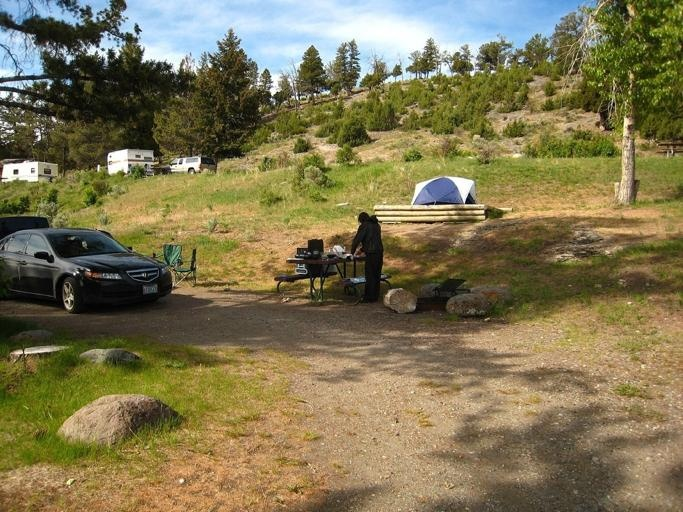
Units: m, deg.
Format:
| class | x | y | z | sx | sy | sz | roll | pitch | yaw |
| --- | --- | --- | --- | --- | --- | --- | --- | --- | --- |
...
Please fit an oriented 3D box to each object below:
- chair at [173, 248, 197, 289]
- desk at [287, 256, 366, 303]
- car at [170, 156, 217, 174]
| class | x | y | z | sx | sy | sz | roll | pitch | yaw |
| --- | --- | --- | --- | --- | --- | --- | --- | --- | --- |
| chair | -4.547 | 0.264 | 18.097 | 0.665 | 1.039 | 1.421 | -6 | 13 | -15 |
| desk | -0.392 | 0.335 | 15.647 | 1.372 | 0.661 | 1.402 | 3 | 7 | 38 |
| car | -10.309 | -6.540 | 44.055 | 2.676 | 1.084 | 4.486 | -7 | 14 | -22 |
